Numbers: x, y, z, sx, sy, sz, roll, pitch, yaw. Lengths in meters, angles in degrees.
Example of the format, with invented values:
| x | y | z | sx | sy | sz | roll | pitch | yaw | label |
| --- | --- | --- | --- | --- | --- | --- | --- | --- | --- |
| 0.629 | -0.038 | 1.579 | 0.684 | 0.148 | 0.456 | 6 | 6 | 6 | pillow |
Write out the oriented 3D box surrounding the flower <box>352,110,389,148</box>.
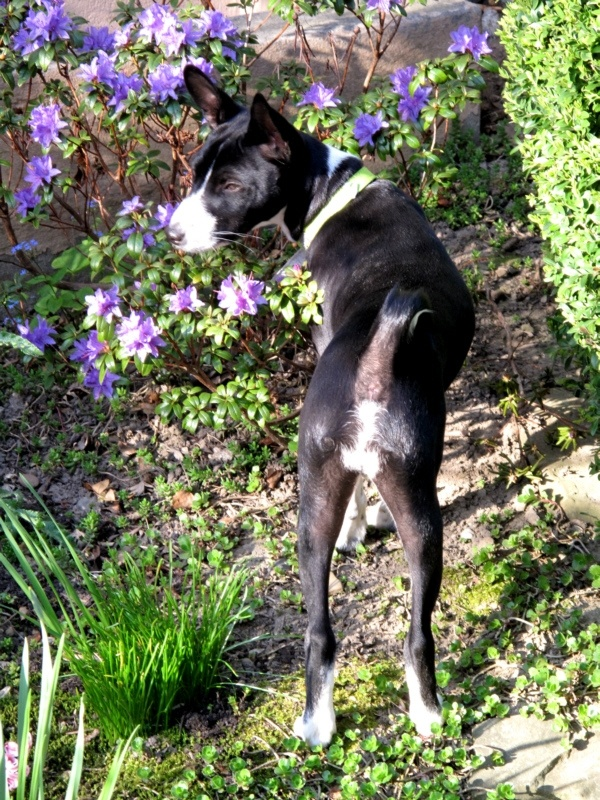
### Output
| x | y | z | sx | sy | sz | roll | pitch | yaw | label |
| --- | --- | --- | --- | --- | --- | --- | --- | --- | --- |
| 0.316 | -1.237 | 3.775 | 0.191 | 0.149 | 0.105 | 2 | 12 | 24 | flower |
